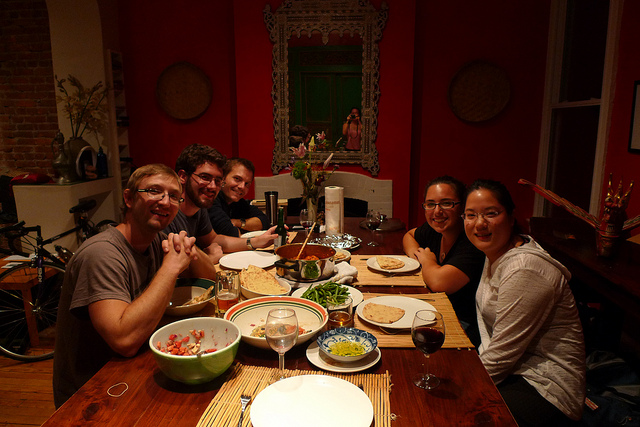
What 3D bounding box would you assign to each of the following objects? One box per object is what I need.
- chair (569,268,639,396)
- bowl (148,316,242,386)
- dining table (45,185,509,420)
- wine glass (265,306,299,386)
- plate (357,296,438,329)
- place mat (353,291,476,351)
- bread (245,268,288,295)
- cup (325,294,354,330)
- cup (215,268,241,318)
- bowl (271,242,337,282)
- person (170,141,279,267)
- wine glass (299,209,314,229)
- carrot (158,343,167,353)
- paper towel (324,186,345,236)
[{"bbox_3d":[1.969,0.819,3.074,0.480,0.755,0.487,-5,31,6],"label":"chair"},{"bbox_3d":[-0.610,0.692,2.192,0.437,0.262,0.248,-4,15,-13],"label":"bowl"},{"bbox_3d":[-0.171,0.501,2.779,1.993,0.498,1.830,-2,14,-2],"label":"dining table"},{"bbox_3d":[-0.183,0.637,2.183,0.153,0.340,0.256,-2,15,-2],"label":"wine glass"},{"bbox_3d":[0.475,0.518,2.677,0.529,0.126,0.395,4,11,30],"label":"plate"},{"bbox_3d":[0.504,0.598,2.553,0.621,0.132,0.512,-1,14,2],"label":"place mat"},{"bbox_3d":[-0.353,0.433,2.736,0.121,0.025,0.217,-13,27,-37],"label":"bread"},{"bbox_3d":[0.110,0.559,2.480,0.150,0.174,0.157,0,1,0],"label":"cup"},{"bbox_3d":[-0.529,0.472,2.570,0.156,0.255,0.154,0,-4,0],"label":"cup"},{"bbox_3d":[-0.087,0.318,2.878,0.242,0.100,0.406,1,6,8],"label":"bowl"},{"bbox_3d":[-0.847,-0.051,3.362,0.964,0.952,0.529,-2,5,34],"label":"person"},{"bbox_3d":[-0.110,0.045,3.675,0.155,0.252,0.157,0,6,-1],"label":"wine glass"},{"bbox_3d":[-0.777,0.668,2.185,0.023,0.010,0.038,7,30,-35],"label":"carrot"},{"bbox_3d":[0.116,-0.015,3.742,0.151,0.410,0.110,-3,16,-5],"label":"paper towel"}]
